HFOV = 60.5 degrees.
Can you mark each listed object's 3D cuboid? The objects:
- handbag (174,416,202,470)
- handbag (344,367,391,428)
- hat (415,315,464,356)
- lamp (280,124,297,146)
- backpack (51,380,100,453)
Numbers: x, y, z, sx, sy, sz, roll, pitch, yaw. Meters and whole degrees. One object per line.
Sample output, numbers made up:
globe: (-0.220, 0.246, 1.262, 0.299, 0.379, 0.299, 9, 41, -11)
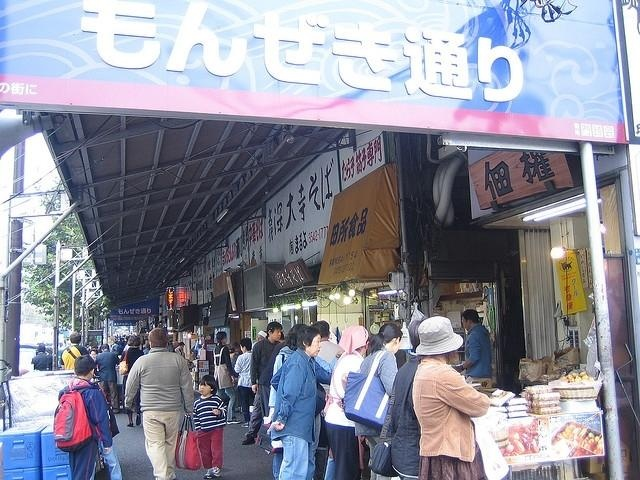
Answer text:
handbag: (-1.858, 2.903, 7.787, 0.355, 0.796, 0.593, -2, -10, -13)
handbag: (0.511, 1.665, 5.790, 0.513, 0.758, 0.213, 6, -20, 2)
hat: (0.976, 0.822, 4.612, 0.295, 0.194, 0.329, -16, 6, -7)
lamp: (-0.670, -2.197, 11.472, 0.279, 0.467, 1.055, -4, -11, -5)
backpack: (-2.960, 2.137, 6.672, 0.454, 0.813, 0.221, 0, -10, -27)
